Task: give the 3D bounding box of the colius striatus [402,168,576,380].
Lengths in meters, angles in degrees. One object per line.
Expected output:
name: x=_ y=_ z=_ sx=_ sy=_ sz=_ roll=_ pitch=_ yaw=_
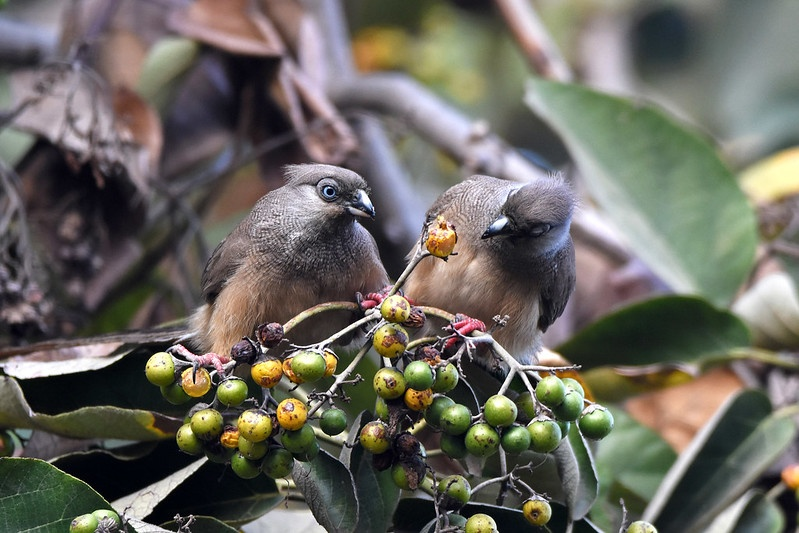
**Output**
colius striatus: x=0.220 y=-0.031 z=2.336 sx=0.312 sy=0.428 sz=0.425 roll=28 pitch=5 yaw=-10
